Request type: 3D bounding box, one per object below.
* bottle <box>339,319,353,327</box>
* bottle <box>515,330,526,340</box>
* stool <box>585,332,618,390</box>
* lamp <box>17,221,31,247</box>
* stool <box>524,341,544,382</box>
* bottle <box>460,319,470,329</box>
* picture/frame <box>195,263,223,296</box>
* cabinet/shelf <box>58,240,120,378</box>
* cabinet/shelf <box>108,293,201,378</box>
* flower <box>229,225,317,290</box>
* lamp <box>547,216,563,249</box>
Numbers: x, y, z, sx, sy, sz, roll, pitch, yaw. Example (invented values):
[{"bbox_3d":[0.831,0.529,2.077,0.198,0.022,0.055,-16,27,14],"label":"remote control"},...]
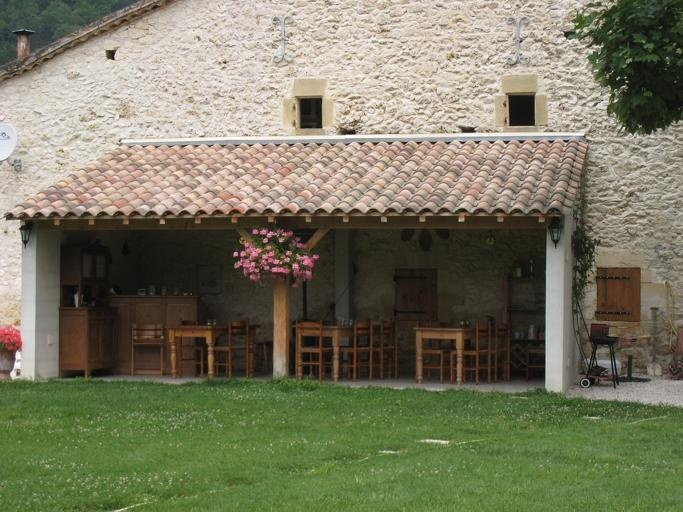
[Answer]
[{"bbox_3d":[0.067,1.270,25.635,0.182,0.128,0.100,3,-8,-16],"label":"bottle"},{"bbox_3d":[3.496,1.567,26.374,0.238,0.233,0.128,0,-10,9],"label":"bottle"},{"bbox_3d":[4.860,1.988,25.185,0.769,1.253,0.762,-2,-17,22],"label":"stool"},{"bbox_3d":[-5.899,-0.406,24.835,0.285,0.441,0.251,-9,-12,28],"label":"lamp"},{"bbox_3d":[3.753,1.973,26.142,0.419,0.654,0.678,-1,-7,3],"label":"stool"},{"bbox_3d":[2.285,1.269,24.897,0.184,0.136,0.187,0,-5,0],"label":"bottle"},{"bbox_3d":[-2.714,0.494,27.540,0.625,0.728,0.062,1,-1,6],"label":"picture/frame"},{"bbox_3d":[-4.840,1.011,25.599,1.107,2.608,0.606,3,-12,-30],"label":"cabinet/shelf"},{"bbox_3d":[-3.623,1.553,25.812,1.480,1.425,0.540,0,0,6],"label":"cabinet/shelf"},{"bbox_3d":[-1.272,-0.003,24.731,1.167,0.834,1.184,2,2,-8],"label":"flower"},{"bbox_3d":[3.756,-0.420,23.650,0.244,0.508,0.231,0,-11,-16],"label":"lamp"}]
